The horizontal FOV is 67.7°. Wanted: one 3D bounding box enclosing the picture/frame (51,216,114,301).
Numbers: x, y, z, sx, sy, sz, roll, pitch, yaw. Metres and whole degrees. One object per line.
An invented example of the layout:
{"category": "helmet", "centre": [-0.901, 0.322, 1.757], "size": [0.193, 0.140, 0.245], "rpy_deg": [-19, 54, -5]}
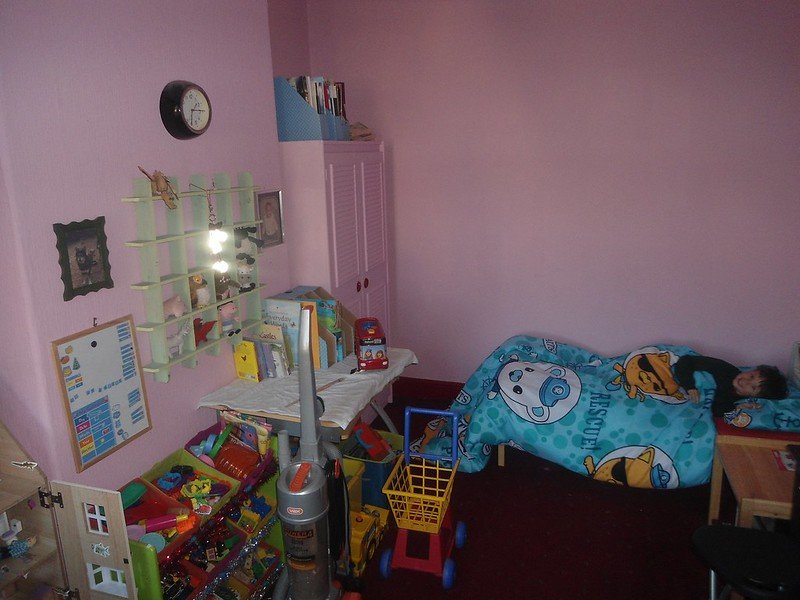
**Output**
{"category": "picture/frame", "centre": [-1.343, -0.180, 2.511], "size": [0.011, 0.321, 0.298], "rpy_deg": [3, 15, 25]}

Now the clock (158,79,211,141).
{"category": "clock", "centre": [-1.038, -0.940, 2.960], "size": [0.097, 0.280, 0.271], "rpy_deg": [6, 20, 19]}

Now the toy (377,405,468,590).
{"category": "toy", "centre": [0.127, 1.072, 3.245], "size": [0.460, 0.791, 0.502], "rpy_deg": [3, 13, 30]}

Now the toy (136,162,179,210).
{"category": "toy", "centre": [-1.122, -0.525, 2.793], "size": [0.155, 0.204, 0.175], "rpy_deg": [-11, 16, -33]}

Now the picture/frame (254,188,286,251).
{"category": "picture/frame", "centre": [-0.787, -0.497, 3.619], "size": [0.006, 0.319, 0.295], "rpy_deg": [-5, 5, -42]}

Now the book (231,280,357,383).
{"category": "book", "centre": [-0.596, 0.176, 3.529], "size": [0.633, 0.504, 0.500], "rpy_deg": [4, 20, 23]}

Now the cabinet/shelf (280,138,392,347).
{"category": "cabinet/shelf", "centre": [-0.347, -0.165, 4.249], "size": [0.225, 1.837, 0.793], "rpy_deg": [8, 19, 28]}

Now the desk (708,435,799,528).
{"category": "desk", "centre": [1.811, 0.918, 3.046], "size": [0.305, 0.405, 0.604], "rpy_deg": [1, 11, 18]}

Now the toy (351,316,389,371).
{"category": "toy", "centre": [-0.179, 0.262, 3.648], "size": [0.172, 0.228, 0.360], "rpy_deg": [-3, 15, -12]}

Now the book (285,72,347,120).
{"category": "book", "centre": [-0.513, -1.282, 3.746], "size": [0.325, 0.117, 0.261], "rpy_deg": [4, 23, 8]}
